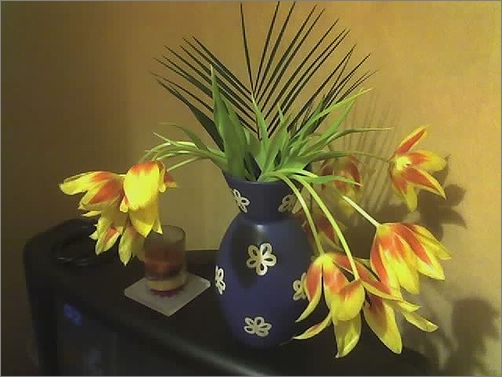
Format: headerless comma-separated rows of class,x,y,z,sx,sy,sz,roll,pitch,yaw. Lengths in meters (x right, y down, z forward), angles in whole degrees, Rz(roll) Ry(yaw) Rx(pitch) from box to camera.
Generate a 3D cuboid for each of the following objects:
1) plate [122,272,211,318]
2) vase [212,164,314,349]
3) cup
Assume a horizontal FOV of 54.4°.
plate,-0.172,0.230,1.061,0.103,0.012,0.098,17,27,36
vase,0.052,0.123,0.950,0.172,0.337,0.187,5,24,25
cup,-0.175,0.161,1.089,0.102,0.145,0.118,0,8,1
